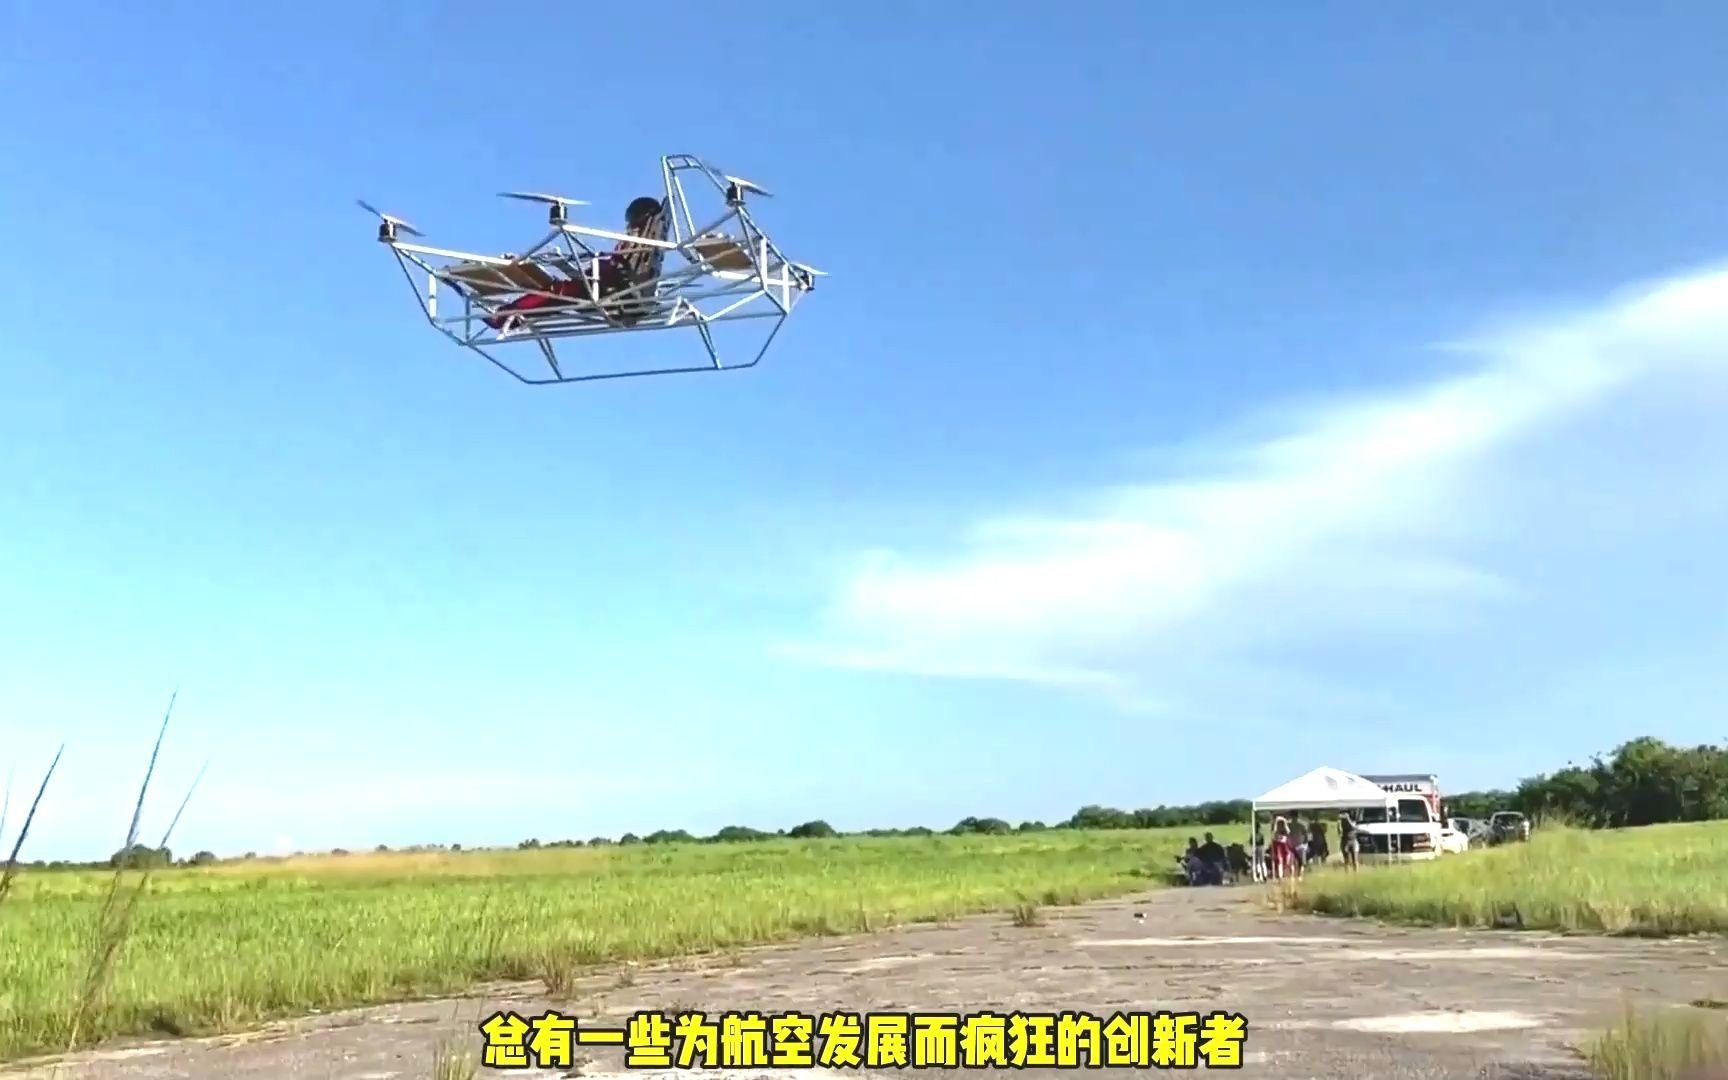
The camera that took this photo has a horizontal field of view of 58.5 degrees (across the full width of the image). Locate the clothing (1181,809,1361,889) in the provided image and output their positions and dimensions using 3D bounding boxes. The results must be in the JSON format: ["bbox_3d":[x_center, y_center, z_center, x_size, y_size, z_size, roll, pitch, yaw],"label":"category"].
[{"bbox_3d":[13.217,9.824,49.889,3.803,2.479,3.728,-4,-40,8],"label":"clothing"}]
